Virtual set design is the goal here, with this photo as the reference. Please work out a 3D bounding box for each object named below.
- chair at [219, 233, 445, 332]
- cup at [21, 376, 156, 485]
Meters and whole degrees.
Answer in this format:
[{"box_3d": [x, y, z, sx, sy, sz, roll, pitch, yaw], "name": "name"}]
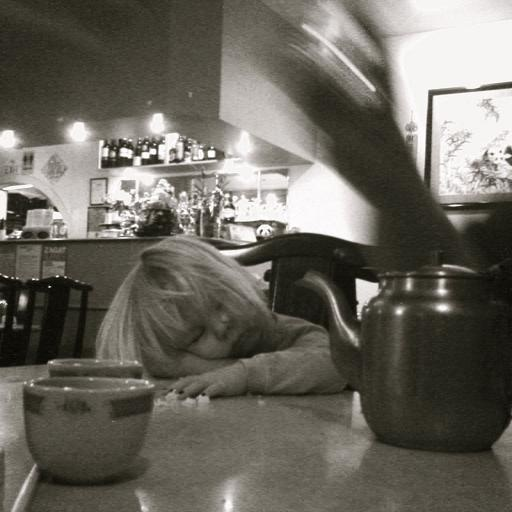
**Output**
[{"box_3d": [0.063, 0.020, 0.569, 0.134, 0.122, 0.127, 0, -3, 21], "name": "chair"}, {"box_3d": [-0.057, 0.057, 0.204, 0.047, 0.025, 0.045, 1, -8, 0], "name": "cup"}]
